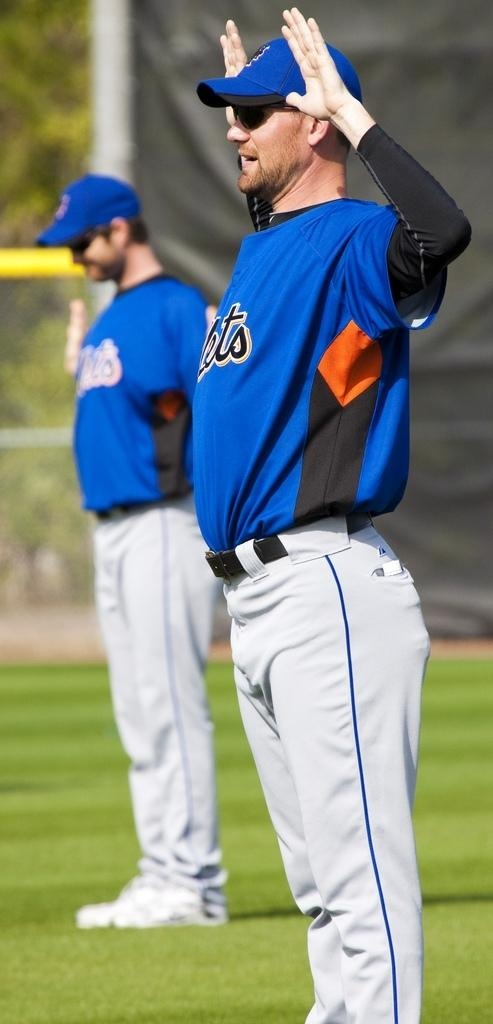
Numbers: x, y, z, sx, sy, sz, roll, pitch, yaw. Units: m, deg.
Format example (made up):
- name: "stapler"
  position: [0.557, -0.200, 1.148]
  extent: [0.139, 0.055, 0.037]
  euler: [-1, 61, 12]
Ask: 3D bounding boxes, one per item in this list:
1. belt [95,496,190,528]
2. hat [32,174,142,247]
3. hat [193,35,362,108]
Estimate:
- name: "belt"
  position: [-0.257, -0.008, 3.144]
  extent: [0.133, 0.054, 0.105]
  euler: [-6, -2, -2]
- name: "hat"
  position: [-0.410, -0.780, 3.348]
  extent: [0.255, 0.158, 0.164]
  euler: [-16, 16, -20]
- name: "hat"
  position: [0.066, -0.715, 2.242]
  extent: [0.241, 0.132, 0.159]
  euler: [0, 6, -8]
